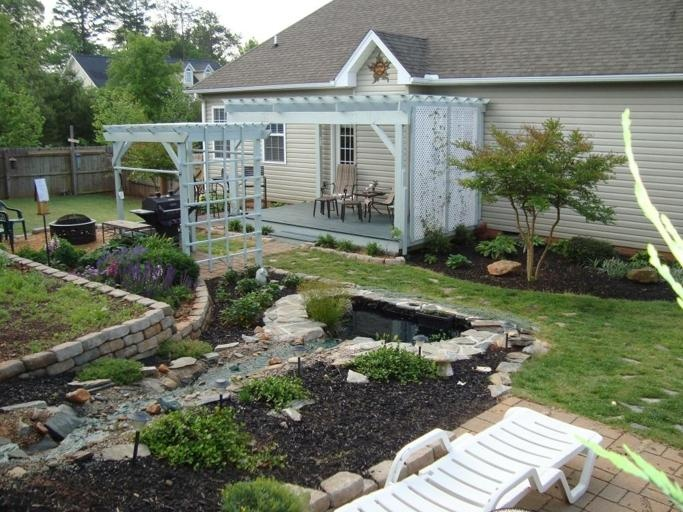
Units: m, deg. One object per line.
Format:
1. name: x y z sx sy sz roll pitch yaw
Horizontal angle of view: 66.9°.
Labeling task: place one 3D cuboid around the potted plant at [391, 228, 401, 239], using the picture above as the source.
1. potted plant: 1.291 -0.539 12.371 0.274 0.301 0.221 11 16 29

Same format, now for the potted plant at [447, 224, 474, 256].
1. potted plant: 3.088 -0.459 13.245 0.617 0.597 1.086 6 13 11
